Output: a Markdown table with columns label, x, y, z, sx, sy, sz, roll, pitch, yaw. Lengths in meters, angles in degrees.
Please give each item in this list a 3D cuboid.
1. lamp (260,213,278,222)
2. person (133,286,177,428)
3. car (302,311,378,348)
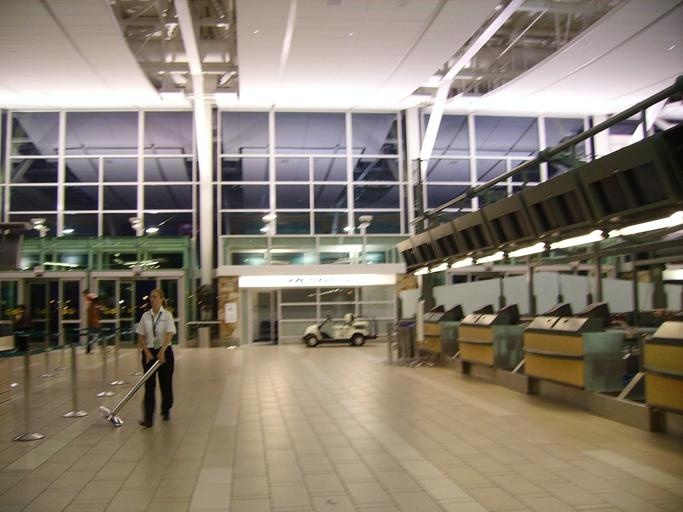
| label | x | y | z | sx | sy | sz | roll | pitch | yaw |
| --- | --- | --- | --- | --- | --- | --- | --- | --- | --- |
| lamp | -3.485 | -1.876 | 24.765 | 0.734 | 0.541 | 1.240 | -1 | -5 | -7 |
| person | -3.050 | 1.644 | 8.410 | 0.569 | 2.157 | 1.020 | 0 | -6 | -20 |
| car | -0.055 | 3.299 | 22.642 | 3.852 | 1.180 | 1.225 | 1 | -6 | -1 |
